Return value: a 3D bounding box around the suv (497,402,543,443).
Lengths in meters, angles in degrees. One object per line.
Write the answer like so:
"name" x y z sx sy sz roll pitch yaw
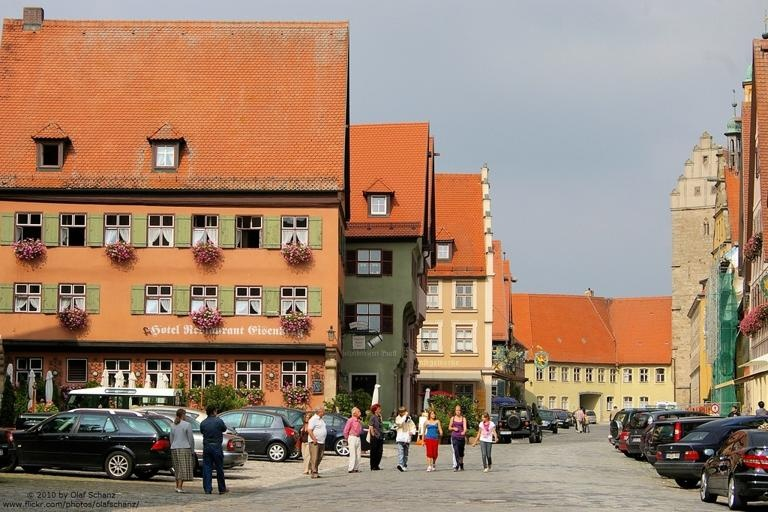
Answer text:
"suv" 7.875 9.614 98.172 2.520 1.993 4.068 -2 3 8

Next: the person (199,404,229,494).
"person" -6.762 7.661 65.929 0.922 3.520 1.212 -1 -13 -6
